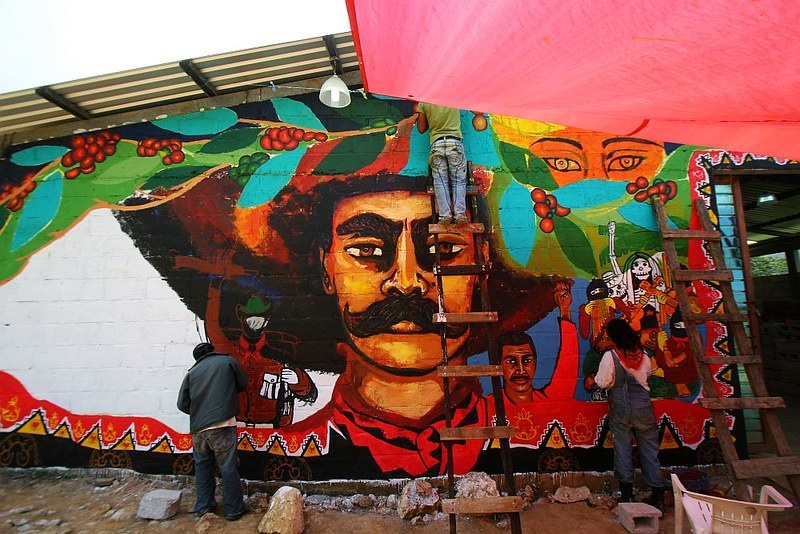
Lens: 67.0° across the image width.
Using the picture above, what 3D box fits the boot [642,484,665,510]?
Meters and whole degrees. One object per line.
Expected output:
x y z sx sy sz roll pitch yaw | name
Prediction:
3.055 2.734 7.247 0.239 0.281 0.348 -5 -2 17 | boot

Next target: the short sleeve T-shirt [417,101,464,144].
0.665 -1.914 7.814 0.805 0.580 0.391 3 5 23 | short sleeve T-shirt

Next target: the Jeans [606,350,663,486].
2.846 1.837 7.472 0.670 1.767 0.523 -3 -15 7 | Jeans

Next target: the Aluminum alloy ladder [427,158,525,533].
0.809 0.843 7.244 0.864 3.789 1.282 -5 -2 7 | Aluminum alloy ladder

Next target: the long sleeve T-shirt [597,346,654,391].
2.680 1.242 7.584 0.334 0.395 0.603 13 15 30 | long sleeve T-shirt

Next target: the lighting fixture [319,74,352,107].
-0.826 -2.147 7.700 0.514 0.419 0.444 1 -20 -5 | lighting fixture

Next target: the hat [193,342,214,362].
-2.426 1.043 7.440 0.300 0.200 0.205 -2 -1 16 | hat
